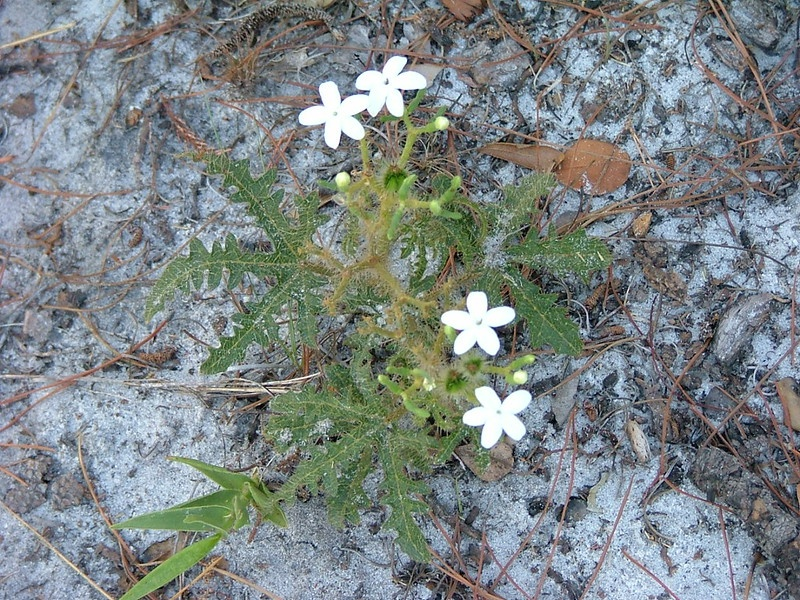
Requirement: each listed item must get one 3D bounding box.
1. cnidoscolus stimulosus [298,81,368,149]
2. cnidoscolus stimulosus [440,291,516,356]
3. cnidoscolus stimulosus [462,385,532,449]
[{"bbox_3d":[-0.432,-1.253,5.768,0.446,0.418,0.422,24,86,3],"label":"cnidoscolus stimulosus"},{"bbox_3d":[0.554,0.174,5.654,0.473,0.403,0.437,-31,85,-1],"label":"cnidoscolus stimulosus"},{"bbox_3d":[0.686,0.748,5.573,0.326,0.352,0.095,36,54,-22],"label":"cnidoscolus stimulosus"}]
